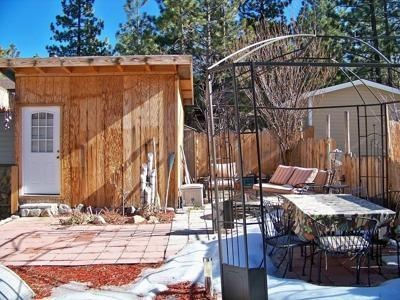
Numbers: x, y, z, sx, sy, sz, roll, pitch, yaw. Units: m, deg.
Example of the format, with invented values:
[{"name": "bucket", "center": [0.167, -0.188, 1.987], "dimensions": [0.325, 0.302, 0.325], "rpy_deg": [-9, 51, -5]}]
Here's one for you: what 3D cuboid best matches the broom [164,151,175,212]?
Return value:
[{"name": "broom", "center": [-0.848, 0.819, 11.498], "dimensions": [0.219, 1.443, 0.578], "rpy_deg": [3, 12, 22]}]
